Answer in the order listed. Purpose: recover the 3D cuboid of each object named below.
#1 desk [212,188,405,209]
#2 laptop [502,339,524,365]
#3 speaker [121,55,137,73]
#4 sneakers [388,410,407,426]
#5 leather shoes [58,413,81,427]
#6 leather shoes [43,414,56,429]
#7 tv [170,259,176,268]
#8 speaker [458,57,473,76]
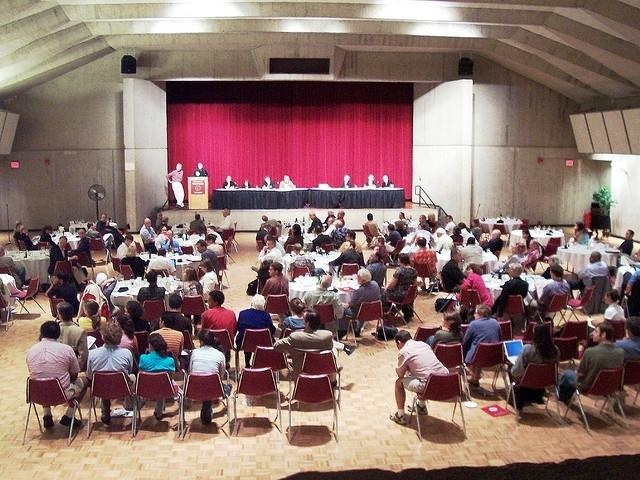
[{"bbox_3d":[-0.435,-1.759,21.715,7.729,0.899,0.834,0,3,0],"label":"desk"},{"bbox_3d":[2.905,1.658,7.769,0.334,0.232,0.319,-3,17,-19],"label":"laptop"},{"bbox_3d":[-7.567,-6.978,20.382,0.549,0.776,0.580,-1,3,-8],"label":"speaker"},{"bbox_3d":[1.134,2.557,7.399,0.109,0.133,0.277,-1,9,-3],"label":"sneakers"},{"bbox_3d":[-3.462,2.495,7.121,0.314,0.152,0.170,6,7,-18],"label":"leather shoes"},{"bbox_3d":[-3.777,2.514,7.176,0.133,0.196,0.170,-2,4,-30],"label":"leather shoes"},{"bbox_3d":[-3.321,0.528,11.620,0.169,0.248,0.127,-2,-11,4],"label":"tv"},{"bbox_3d":[5.952,-7.121,21.052,0.556,0.951,0.391,0,3,7],"label":"speaker"}]
